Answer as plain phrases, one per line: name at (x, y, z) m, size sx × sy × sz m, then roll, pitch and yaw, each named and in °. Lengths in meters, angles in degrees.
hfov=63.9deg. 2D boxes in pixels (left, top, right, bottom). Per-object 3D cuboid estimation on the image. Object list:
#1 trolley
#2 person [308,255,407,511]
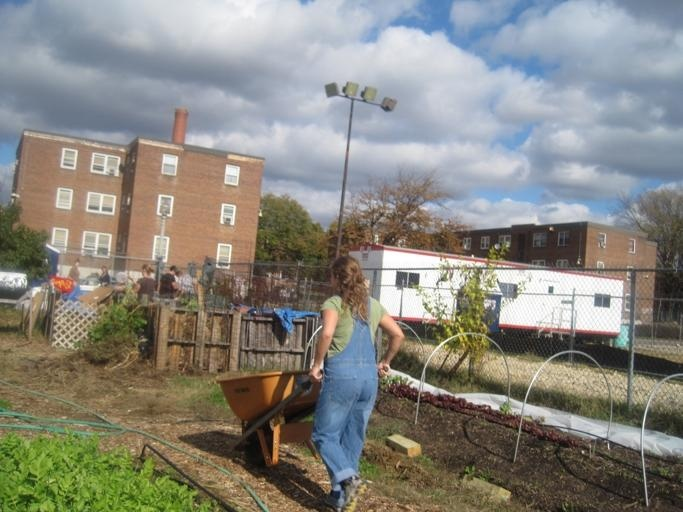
trolley at (-0.790, 1.776, 6.235) m, size 0.876 × 0.863 × 1.176 m, roll 4°, pitch -6°, yaw -43°
person at (0.021, 1.259, 5.652) m, size 0.626 × 2.426 × 0.806 m, roll 4°, pitch 8°, yaw 18°
